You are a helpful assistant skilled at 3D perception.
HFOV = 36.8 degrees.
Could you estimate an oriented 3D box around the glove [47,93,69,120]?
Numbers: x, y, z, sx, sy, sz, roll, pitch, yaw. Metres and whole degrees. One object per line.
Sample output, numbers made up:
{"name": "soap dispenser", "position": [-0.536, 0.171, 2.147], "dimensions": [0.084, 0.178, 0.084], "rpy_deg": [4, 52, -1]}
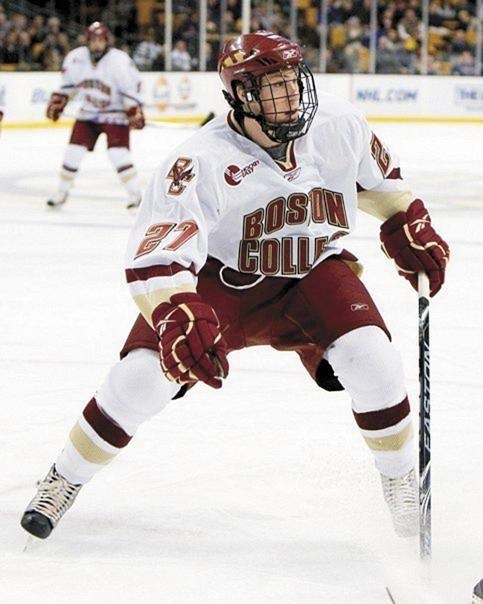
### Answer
{"name": "glove", "position": [-1.610, -1.681, 6.224], "dimensions": [0.208, 0.212, 0.237], "rpy_deg": [-5, 14, -41]}

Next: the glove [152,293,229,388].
{"name": "glove", "position": [-0.086, 0.072, 1.350], "dimensions": [0.148, 0.169, 0.077], "rpy_deg": [-14, -17, -2]}

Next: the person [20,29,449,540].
{"name": "person", "position": [0.116, -0.055, 1.620], "dimensions": [0.645, 1.063, 0.827], "rpy_deg": [4, 21, 14]}

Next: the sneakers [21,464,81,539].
{"name": "sneakers", "position": [-0.388, 0.436, 1.660], "dimensions": [0.075, 0.090, 0.231], "rpy_deg": [40, 19, -6]}

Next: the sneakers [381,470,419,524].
{"name": "sneakers", "position": [0.359, 0.430, 1.637], "dimensions": [0.051, 0.061, 0.130], "rpy_deg": [-36, 40, 27]}
